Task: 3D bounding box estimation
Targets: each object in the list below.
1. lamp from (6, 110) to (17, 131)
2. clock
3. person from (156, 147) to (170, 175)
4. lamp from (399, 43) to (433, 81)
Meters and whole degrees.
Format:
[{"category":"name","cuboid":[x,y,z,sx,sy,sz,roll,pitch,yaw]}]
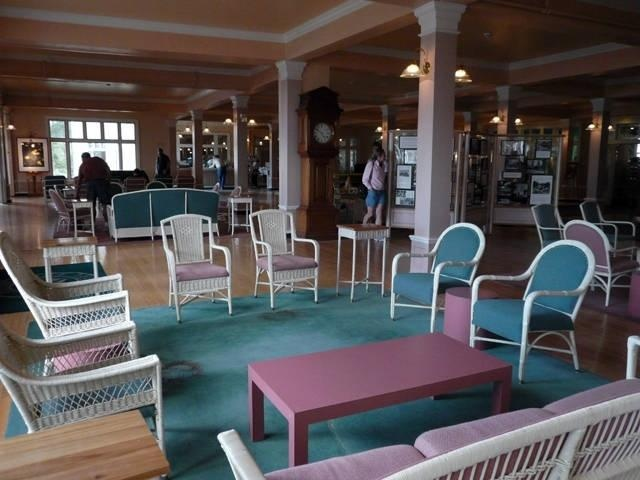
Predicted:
[{"category":"lamp","cuboid":[-11.632,-4.453,16.997,0.247,0.698,0.976,-8,10,-26]},{"category":"clock","cuboid":[0.021,-2.276,8.930,0.778,1.350,0.263,-7,10,-19]},{"category":"person","cuboid":[-5.490,-2.668,15.850,0.366,0.939,1.037,-4,9,-6]},{"category":"lamp","cuboid":[1.208,-2.230,5.734,0.316,0.350,0.305,1,18,-8]}]
